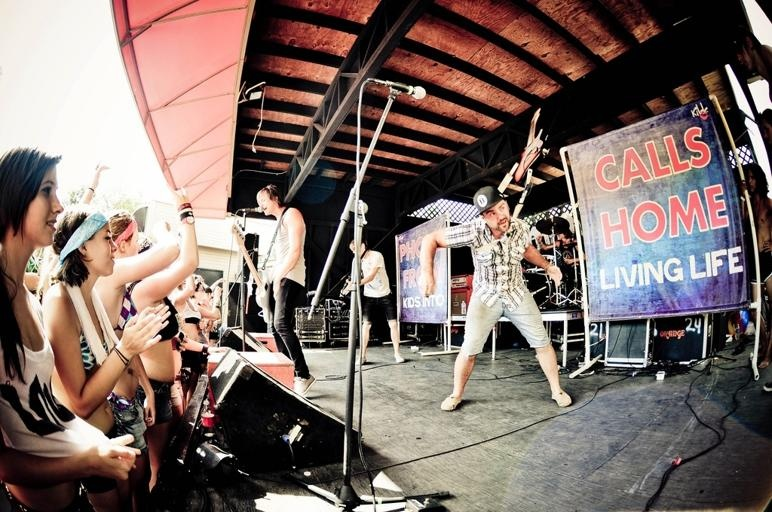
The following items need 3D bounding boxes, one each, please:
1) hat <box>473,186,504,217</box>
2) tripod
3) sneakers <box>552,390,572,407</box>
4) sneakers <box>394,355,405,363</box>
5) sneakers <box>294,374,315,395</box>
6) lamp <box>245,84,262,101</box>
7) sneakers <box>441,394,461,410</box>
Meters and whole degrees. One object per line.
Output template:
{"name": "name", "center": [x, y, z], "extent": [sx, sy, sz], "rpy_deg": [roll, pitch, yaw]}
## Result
{"name": "hat", "center": [0.878, -0.457, 3.824], "extent": [0.195, 0.159, 0.264], "rpy_deg": [-33, 13, 35]}
{"name": "tripod", "center": [-0.188, 0.896, 4.081], "extent": [1.510, 2.682, 1.511], "rpy_deg": [-8, -12, 24]}
{"name": "sneakers", "center": [1.449, 1.183, 3.720], "extent": [0.150, 0.099, 0.136], "rpy_deg": [-2, 4, 22]}
{"name": "sneakers", "center": [0.183, 1.404, 6.165], "extent": [0.119, 0.109, 0.255], "rpy_deg": [0, -1, 5]}
{"name": "sneakers", "center": [-0.754, 1.198, 4.274], "extent": [0.170, 0.164, 0.430], "rpy_deg": [1, -36, -17]}
{"name": "lamp", "center": [-1.723, -2.193, 5.959], "extent": [0.239, 0.215, 0.285], "rpy_deg": [-4, 4, -15]}
{"name": "sneakers", "center": [0.536, 1.238, 3.799], "extent": [0.089, 0.072, 0.181], "rpy_deg": [-8, -18, 31]}
